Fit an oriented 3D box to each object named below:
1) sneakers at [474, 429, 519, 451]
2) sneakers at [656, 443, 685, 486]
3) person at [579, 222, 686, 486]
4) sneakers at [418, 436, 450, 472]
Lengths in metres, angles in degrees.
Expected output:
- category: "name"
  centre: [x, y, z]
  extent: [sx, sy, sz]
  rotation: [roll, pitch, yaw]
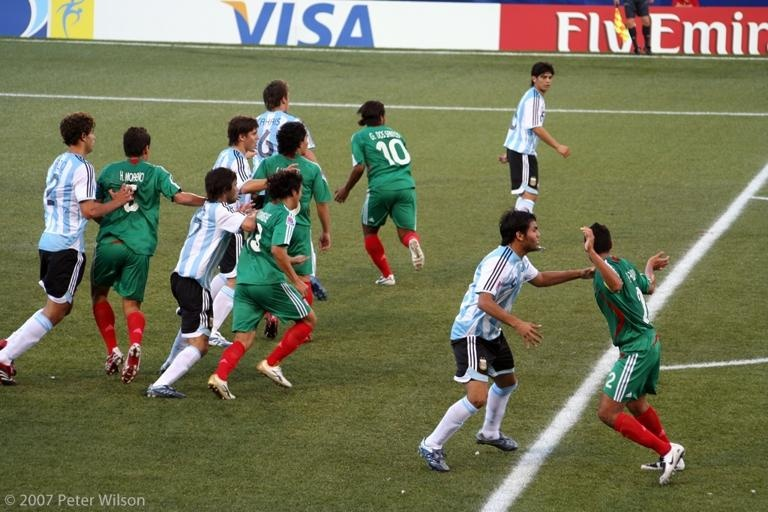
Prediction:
- category: "sneakers"
  centre: [1.104, 1.802, 10.176]
  extent: [0.462, 0.179, 0.156]
  rotation: [9, 6, -2]
- category: "sneakers"
  centre: [2.745, 1.952, 9.723]
  extent: [0.227, 0.367, 0.206]
  rotation: [2, 11, 7]
- category: "person"
  centre: [2.422, 0.897, 9.877]
  extent: [1.072, 2.361, 0.809]
  rotation: [2, 12, 11]
- category: "sneakers"
  centre: [0.489, 1.890, 9.909]
  extent: [0.293, 0.288, 0.232]
  rotation: [0, 11, -1]
